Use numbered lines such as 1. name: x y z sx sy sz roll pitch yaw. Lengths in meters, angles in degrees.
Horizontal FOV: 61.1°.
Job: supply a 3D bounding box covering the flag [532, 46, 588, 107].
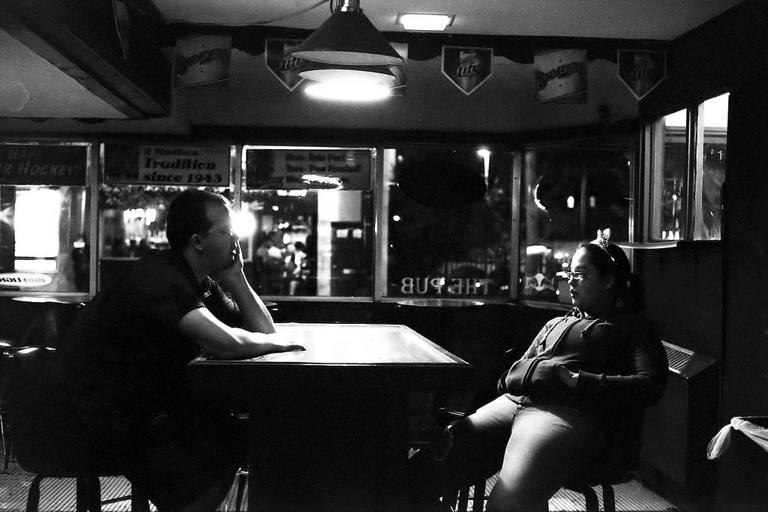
1. flag: 1.433 -1.483 5.270 0.491 0.464 0.050 2 1 26
